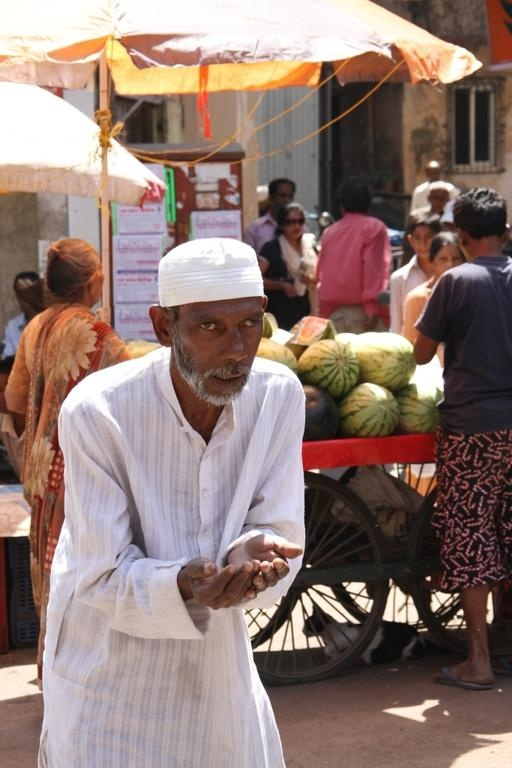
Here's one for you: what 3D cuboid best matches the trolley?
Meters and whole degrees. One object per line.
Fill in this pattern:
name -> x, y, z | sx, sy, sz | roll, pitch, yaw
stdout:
trolley -> 0.443, 0.715, 4.732 | 1.042, 1.021, 1.342 | -9, 17, -35

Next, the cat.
cat -> 0.549, 1.170, 4.902 | 0.697, 0.311, 0.208 | -2, -12, -6

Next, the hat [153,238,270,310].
hat -> -0.088, -0.220, 2.074 | 0.197, 0.126, 0.079 | -2, 7, -4
